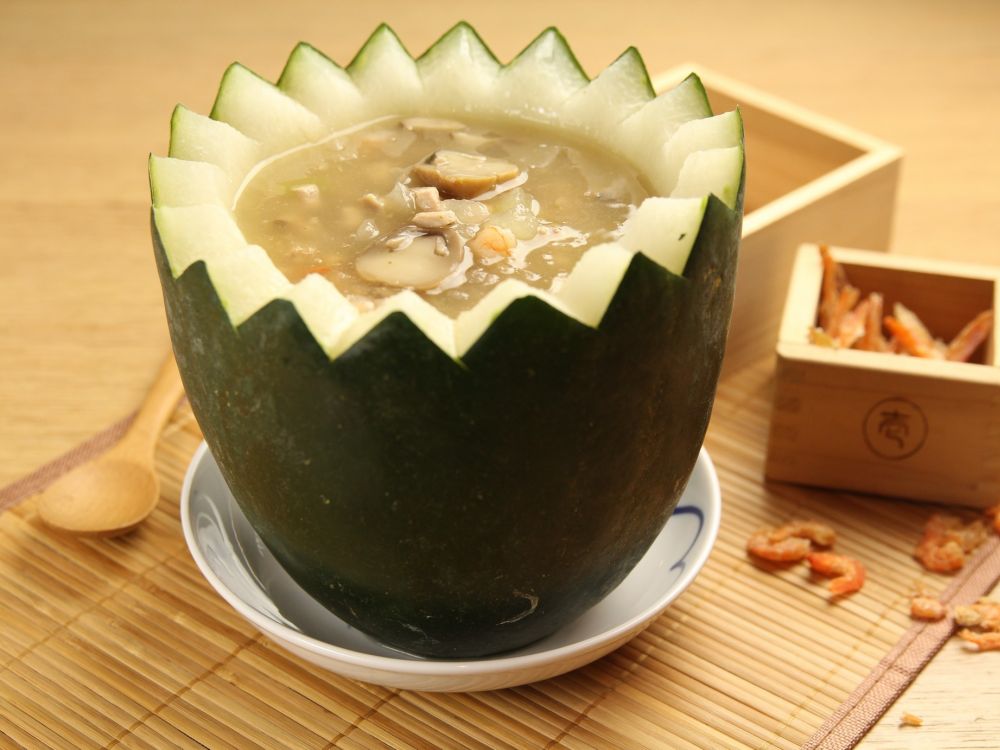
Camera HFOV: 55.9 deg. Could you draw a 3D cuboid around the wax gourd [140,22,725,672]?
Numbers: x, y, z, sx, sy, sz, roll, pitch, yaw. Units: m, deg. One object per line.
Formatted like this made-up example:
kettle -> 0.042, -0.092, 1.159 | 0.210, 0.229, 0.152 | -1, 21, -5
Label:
wax gourd -> -0.037, -0.022, 1.122 | 0.689, 0.606, 0.646 | -12, 33, -17
